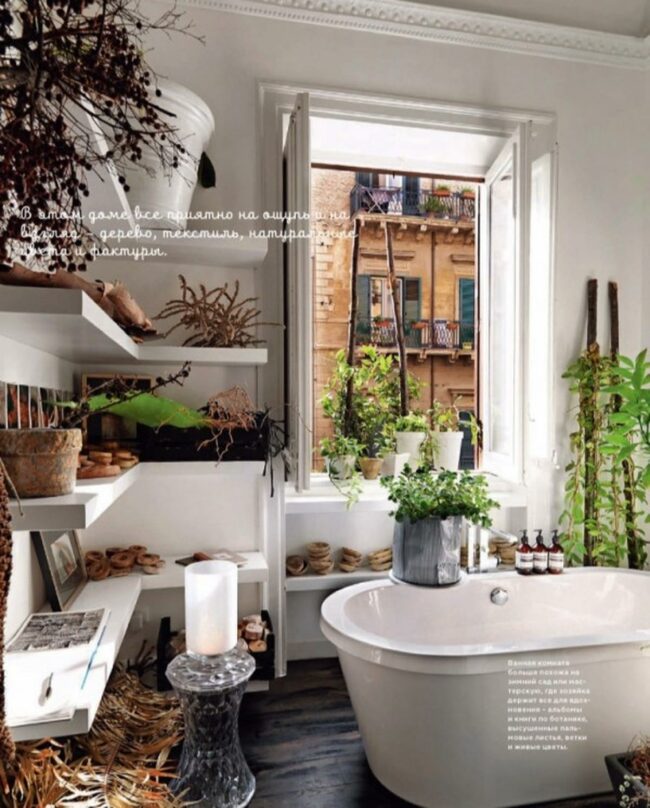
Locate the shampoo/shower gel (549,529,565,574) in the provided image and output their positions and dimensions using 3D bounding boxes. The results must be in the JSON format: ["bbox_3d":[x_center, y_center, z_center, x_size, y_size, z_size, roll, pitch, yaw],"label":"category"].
[{"bbox_3d":[0.921,0.575,2.746,0.055,0.166,0.155,1,2,18],"label":"shampoo/shower gel"}]

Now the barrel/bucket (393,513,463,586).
[{"bbox_3d":[0.373,0.539,2.662,0.243,0.244,0.254,1,0,0],"label":"barrel/bucket"}]

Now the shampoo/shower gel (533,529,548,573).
[{"bbox_3d":[0.857,0.592,2.735,0.055,0.131,0.097,1,2,18],"label":"shampoo/shower gel"}]
